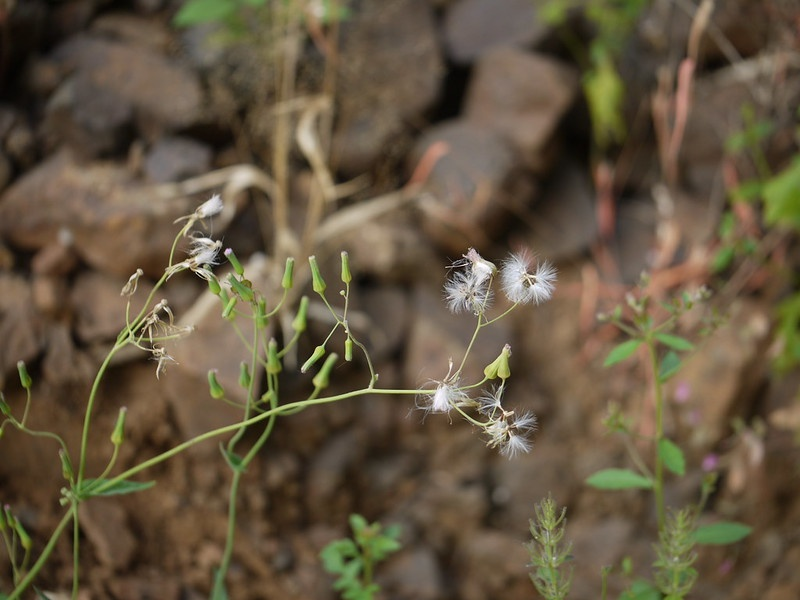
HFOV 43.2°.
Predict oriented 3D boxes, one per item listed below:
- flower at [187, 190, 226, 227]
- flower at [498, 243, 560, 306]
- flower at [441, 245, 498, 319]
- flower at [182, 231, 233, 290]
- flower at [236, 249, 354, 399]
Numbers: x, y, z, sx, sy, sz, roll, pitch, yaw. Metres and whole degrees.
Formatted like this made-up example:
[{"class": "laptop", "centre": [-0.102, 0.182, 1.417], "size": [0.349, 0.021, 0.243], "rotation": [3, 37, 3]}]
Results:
[{"class": "flower", "centre": [-0.293, -0.126, 1.547], "size": [0.060, 0.026, 0.066], "rotation": [-43, 23, 0]}, {"class": "flower", "centre": [0.194, -0.043, 1.517], "size": [0.067, 0.086, 0.032], "rotation": [0, 75, -4]}, {"class": "flower", "centre": [0.112, -0.040, 1.496], "size": [0.082, 0.140, 0.066], "rotation": [6, 78, -6]}, {"class": "flower", "centre": [-0.278, -0.053, 1.484], "size": [0.057, 0.112, 0.044], "rotation": [-35, 74, 24]}, {"class": "flower", "centre": [-0.159, 0.024, 1.544], "size": [0.213, 0.227, 0.100], "rotation": [8, 41, 3]}]
